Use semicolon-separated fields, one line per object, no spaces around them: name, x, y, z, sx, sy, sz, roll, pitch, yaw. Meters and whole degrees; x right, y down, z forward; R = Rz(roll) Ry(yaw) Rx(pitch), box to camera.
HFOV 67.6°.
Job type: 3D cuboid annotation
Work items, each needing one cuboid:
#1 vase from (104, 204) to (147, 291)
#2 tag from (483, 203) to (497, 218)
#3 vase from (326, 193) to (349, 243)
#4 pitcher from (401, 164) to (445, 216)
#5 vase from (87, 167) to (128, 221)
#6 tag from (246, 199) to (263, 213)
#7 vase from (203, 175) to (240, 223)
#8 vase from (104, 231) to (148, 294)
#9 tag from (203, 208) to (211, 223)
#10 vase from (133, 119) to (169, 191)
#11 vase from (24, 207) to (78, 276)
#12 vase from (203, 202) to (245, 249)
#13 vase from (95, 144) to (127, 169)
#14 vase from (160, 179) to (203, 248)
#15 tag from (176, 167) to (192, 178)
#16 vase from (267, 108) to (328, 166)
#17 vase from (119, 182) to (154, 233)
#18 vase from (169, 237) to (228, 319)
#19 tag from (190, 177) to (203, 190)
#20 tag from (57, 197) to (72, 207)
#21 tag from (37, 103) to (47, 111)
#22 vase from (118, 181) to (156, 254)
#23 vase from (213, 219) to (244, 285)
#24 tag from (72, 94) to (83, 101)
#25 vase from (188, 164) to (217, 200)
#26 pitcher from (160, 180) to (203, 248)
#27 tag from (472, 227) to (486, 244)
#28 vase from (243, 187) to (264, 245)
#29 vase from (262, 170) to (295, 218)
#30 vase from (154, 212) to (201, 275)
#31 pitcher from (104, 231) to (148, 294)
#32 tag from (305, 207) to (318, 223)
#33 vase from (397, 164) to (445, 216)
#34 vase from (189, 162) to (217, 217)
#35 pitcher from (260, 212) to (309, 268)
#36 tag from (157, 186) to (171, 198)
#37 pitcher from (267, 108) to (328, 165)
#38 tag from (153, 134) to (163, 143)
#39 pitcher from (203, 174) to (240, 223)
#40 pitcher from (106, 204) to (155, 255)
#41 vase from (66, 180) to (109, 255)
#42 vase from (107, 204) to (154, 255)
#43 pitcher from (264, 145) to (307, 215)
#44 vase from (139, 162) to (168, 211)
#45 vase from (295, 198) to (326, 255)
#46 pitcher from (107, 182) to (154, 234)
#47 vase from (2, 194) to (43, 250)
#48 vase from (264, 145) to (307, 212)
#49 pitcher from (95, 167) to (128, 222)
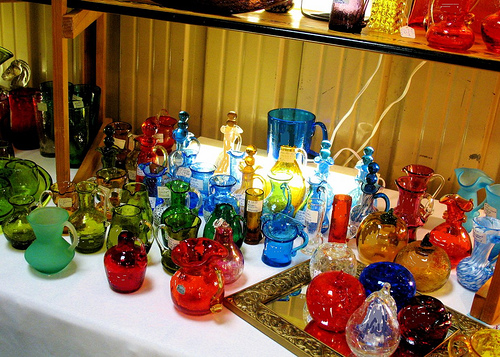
vase;-0.386;0.202;1.145;0.117;0.166;0.262;-5;26;-20
tag;0.812;0.109;1.267;0.038;0.041;0.042;-9;7;-23
vase;0.315;0.144;1.316;0.060;0.169;0.054;6;25;4
pitcher;0.613;0.055;1.349;0.170;0.187;0.111;9;26;18
vase;-0.530;0.066;1.407;0.103;0.170;0.158;4;19;2
tag;0.015;0.097;1.300;0.044;0.032;0.044;9;11;30
vase;-0.105;0.068;1.410;0.126;0.157;0.166;-4;22;-22
vase;-0.360;0.240;1.097;0.121;0.163;0.126;14;21;23
tag;-0.160;0.133;1.356;0.035;0.038;0.037;0;7;-15
vase;-0.400;-0.078;1.493;0.148;0.286;0.097;5;17;-11
vase;-0.586;0.199;1.122;0.164;0.154;0.119;3;13;-3
vase;-0.074;0.155;1.227;0.153;0.142;0.115;6;3;-40
vase;-0.592;-0.087;1.603;0.098;0.096;0.097;8;25;5
vase;-0.233;0.122;1.255;0.138;0.196;0.125;0;12;-13
tag;-0.266;-0.024;1.491;0.057;0.056;0.033;8;1;-9
vase;0.232;-0.165;1.794;0.304;0.278;0.193;10;28;9
vase;-0.382;0.100;1.245;0.146;0.144;0.099;19;27;36
vase;-0.135;0.285;1.039;0.153;0.190;0.194;-12;26;-33
tag;-0.201;0.020;1.402;0.045;0.042;0.046;16;21;38
tag;-0.644;0.082;1.291;0.033;0.030;0.008;6;7;-21
tag;-0.925;-0.317;1.658;0.033;0.024;0.033;16;19;27
vase;-0.376;0.143;1.307;0.110;0.219;0.147;0;11;6
vase;-0.073;0.226;1.161;0.119;0.182;0.115;-4;6;17
tag;-0.855;-0.395;1.836;0.038;0.038;0.010;25;-26;-11
vase;-0.182;0.001;1.418;0.129;0.149;0.114;2;15;-1
pitcher;-0.234;0.126;1.246;0.134;0.194;0.123;0;2;-24
tag;0.720;0.179;1.172;0.039;0.038;0.039;3;15;35
vase;0.013;0.124;1.352;0.073;0.194;0.130;4;24;0
vase;0.101;0.072;1.406;0.116;0.165;0.143;-4;15;-33
vase;-0.230;0.190;1.193;0.197;0.193;0.125;-1;25;-10
pitcher;-0.361;0.237;1.093;0.123;0.162;0.119;8;15;3
tag;0.214;0.128;1.322;0.043;0.047;0.046;-1;14;-4
vase;0.613;0.054;1.337;0.151;0.174;0.100;14;24;35
vase;-0.189;0.050;1.465;0.131;0.197;0.129;11;22;21
pitcher;0.094;0.219;1.266;0.179;0.137;0.164;17;7;36
tag;-0.315;0.050;1.356;0.041;0.043;0.047;-1;11;0
pitcher;0.177;-0.198;1.735;0.339;0.234;0.216;0;12;-26
tag;-0.415;-0.184;1.694;0.051;0.047;0.044;-1;8;-29
pitcher;-0.119;0.081;1.381;0.180;0.169;0.130;-1;28;1
pitcher;-0.413;0.201;1.221;0.197;0.189;0.151;0;-18;-19
vase;-0.554;0.133;1.254;0.160;0.214;0.141;4;6;-27
vase;-0.403;0.188;1.227;0.189;0.178;0.144;3;-15;-7
pitcher;0.166;-0.013;1.540;0.165;0.330;0.208;6;42;16
vase;-0.357;0.036;1.411;0.112;0.185;0.081;7;23;6
vase;0.216;0.151;1.347;0.101;0.181;0.171;3;24;-4
pitcher;-0.410;0.124;1.272;0.128;0.186;0.191;1;7;15
vase;-0.720;0.143;1.181;0.126;0.148;0.114;8;24;-8
vase;0.148;0.030;1.537;0.183;0.342;0.227;2;17;6
pitcher;-0.529;0.078;1.385;0.112;0.189;0.181;3;4;-15
